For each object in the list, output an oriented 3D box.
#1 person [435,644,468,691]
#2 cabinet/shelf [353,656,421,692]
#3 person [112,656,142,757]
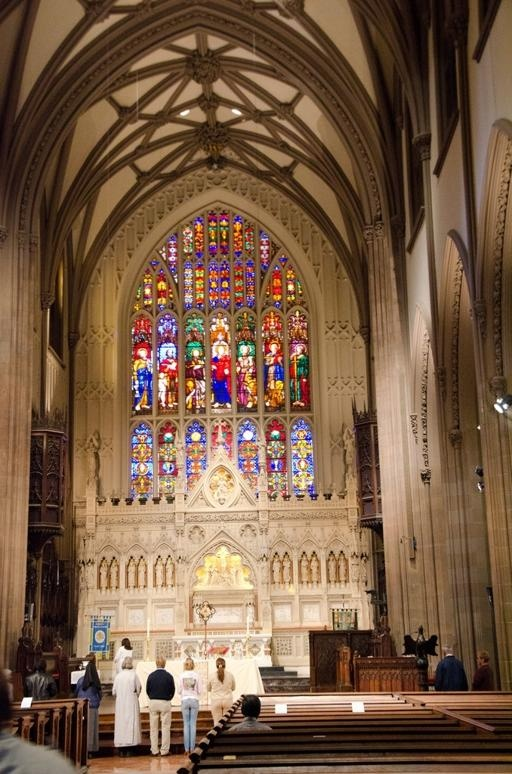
[{"bbox_3d":[2.302,3.354,9.745,0.360,0.504,0.830,-6,-19,11],"label":"person"},{"bbox_3d":[2.017,4.476,12.755,1.212,0.498,0.292,-16,-22,35],"label":"cabinet/shelf"},{"bbox_3d":[-1.859,4.608,11.771,0.366,1.387,1.432,1,-18,-9],"label":"person"}]
